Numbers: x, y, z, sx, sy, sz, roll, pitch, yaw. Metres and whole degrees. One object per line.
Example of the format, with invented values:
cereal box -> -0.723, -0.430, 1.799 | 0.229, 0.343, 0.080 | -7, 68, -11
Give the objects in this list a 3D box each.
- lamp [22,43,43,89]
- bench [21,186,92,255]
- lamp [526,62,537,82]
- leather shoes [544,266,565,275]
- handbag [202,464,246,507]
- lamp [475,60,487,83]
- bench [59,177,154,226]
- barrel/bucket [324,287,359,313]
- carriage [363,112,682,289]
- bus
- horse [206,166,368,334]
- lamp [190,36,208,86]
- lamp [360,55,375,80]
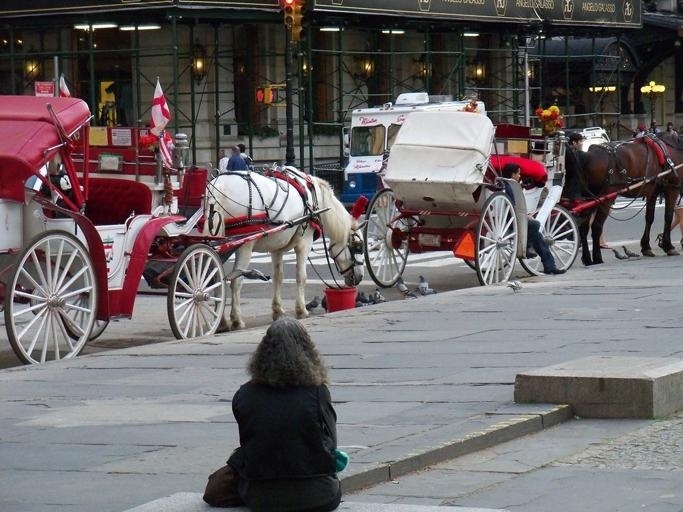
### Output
lamp -> -8.956, -5.525, 41.293 | 0.639, 1.300, 3.125 | -3, 4, -12
bench -> -3.573, -0.444, 17.891 | 0.910, 0.545, 0.711 | -5, 11, -31
lamp -> 7.197, -6.843, 53.044 | 0.223, 0.735, 0.771 | -1, 4, 22
leather shoes -> 3.618, 0.243, 24.041 | 0.386, 0.151, 0.124 | -3, 13, -7
handbag -> -1.049, 2.058, 12.720 | 0.431, 0.397, 0.290 | 4, -8, -6
lamp -> 5.071, -6.592, 50.895 | 0.238, 0.730, 1.097 | 0, 4, 28
bench -> -3.095, -0.687, 19.922 | 0.662, 0.740, 1.829 | 5, -1, -37
barrel/bucket -> 0.005, 0.652, 21.302 | 0.411, 0.328, 0.386 | 0, -1, 0
carriage -> 2.461, -0.970, 23.668 | 4.886, 2.880, 2.173 | -5, 5, -38
bus -> 1.313, -2.622, 33.078 | 2.225, 2.328, 3.585 | 2, 4, 34
horse -> -0.894, -0.155, 21.336 | 1.086, 2.441, 3.762 | -5, -1, 36
lamp -> -3.985, -5.421, 40.017 | 0.460, 1.254, 0.406 | 0, 9, 2
lamp -> 0.891, -6.003, 45.427 | 0.422, 0.737, 0.329 | -2, 4, 5
